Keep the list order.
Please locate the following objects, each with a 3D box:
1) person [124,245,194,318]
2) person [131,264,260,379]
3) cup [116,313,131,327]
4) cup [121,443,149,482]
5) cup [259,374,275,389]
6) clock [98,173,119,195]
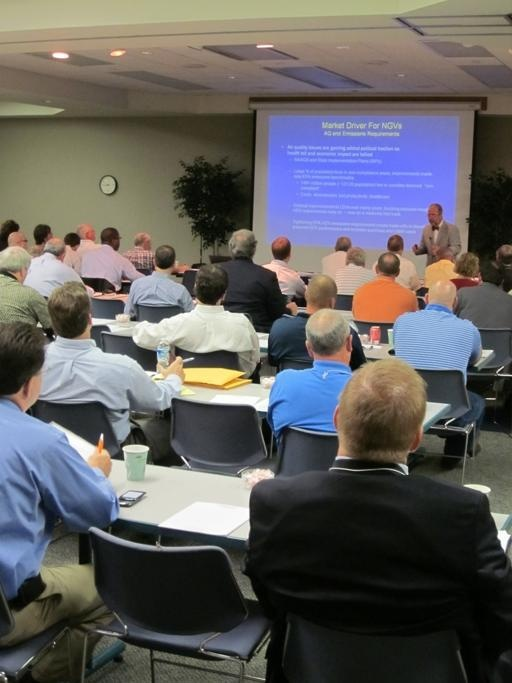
[{"bbox_3d":[-0.879,-0.489,5.486,0.757,0.793,0.461,3,28,-3],"label":"person"},{"bbox_3d":[-0.405,-0.133,4.049,0.925,1.023,0.596,1,36,-6],"label":"person"},{"bbox_3d":[-1.114,-0.174,4.830,0.123,0.078,0.114,0,2,0],"label":"cup"},{"bbox_3d":[-0.390,0.397,1.953,0.124,0.110,0.118,-2,8,0],"label":"cup"},{"bbox_3d":[0.056,0.221,3.149,0.071,0.038,0.068,0,9,0],"label":"cup"},{"bbox_3d":[-3.318,-3.477,12.993,0.475,0.420,0.112,0,0,28],"label":"clock"}]
